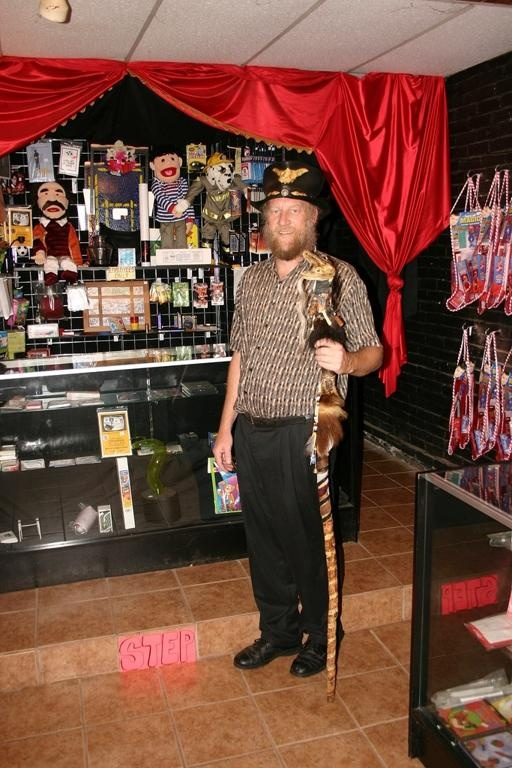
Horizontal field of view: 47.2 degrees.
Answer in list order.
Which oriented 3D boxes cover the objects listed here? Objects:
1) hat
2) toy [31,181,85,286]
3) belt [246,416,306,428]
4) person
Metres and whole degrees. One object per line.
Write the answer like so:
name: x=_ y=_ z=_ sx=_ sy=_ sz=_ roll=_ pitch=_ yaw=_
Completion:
hat: x=0.095 y=-0.606 z=1.788 sx=0.247 sy=0.147 sz=0.191 roll=0 pitch=4 yaw=14
toy: x=-1.286 y=-0.961 z=3.779 sx=0.298 sy=0.647 sz=0.318 roll=-2 pitch=5 yaw=-17
belt: x=0.058 y=0.119 z=1.805 sx=0.203 sy=0.044 sz=0.029 roll=2 pitch=5 yaw=34
person: x=0.148 y=0.171 z=1.894 sx=0.353 sy=1.697 sz=0.706 roll=-3 pitch=5 yaw=-26
